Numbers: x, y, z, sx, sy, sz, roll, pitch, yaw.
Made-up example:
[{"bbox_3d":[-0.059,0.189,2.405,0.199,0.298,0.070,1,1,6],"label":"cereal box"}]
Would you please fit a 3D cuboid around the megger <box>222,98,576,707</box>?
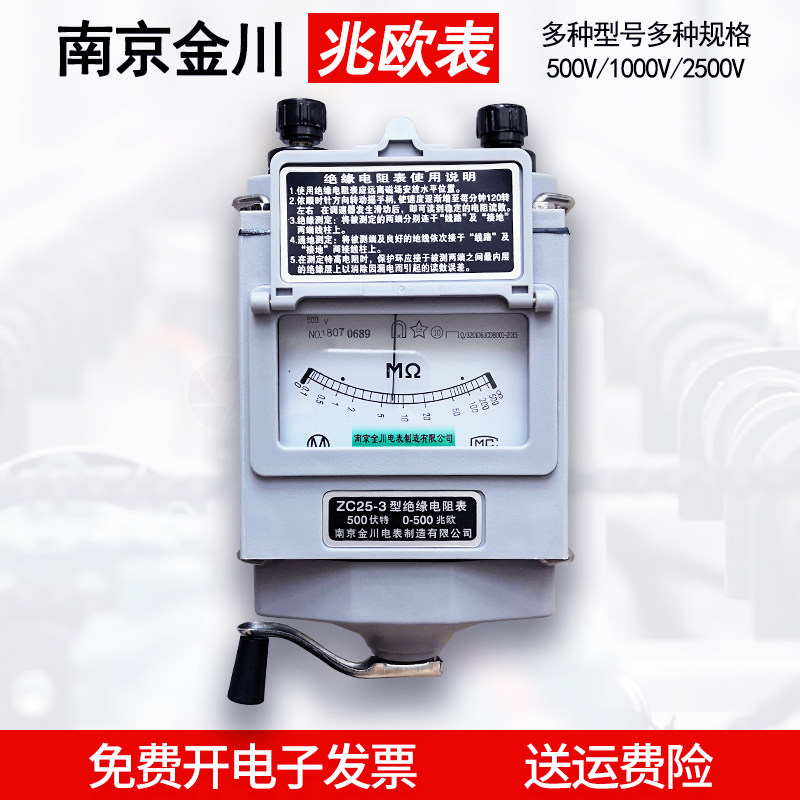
[{"bbox_3d":[-0.003,-0.003,1.429,0.465,0.788,0.234,-2,-10,4],"label":"megger"}]
